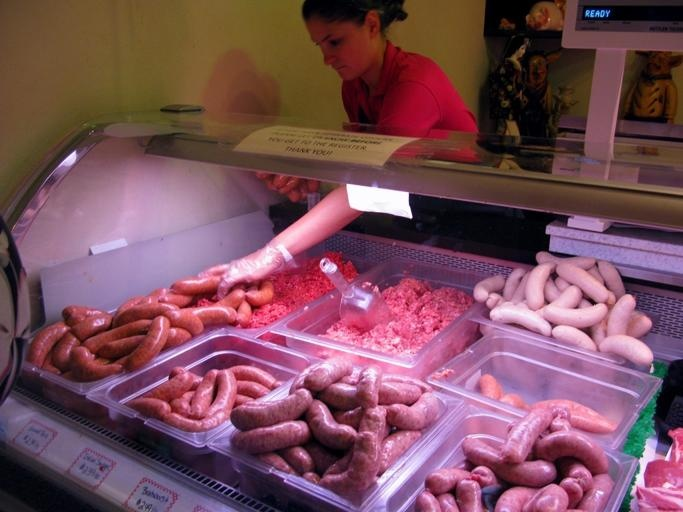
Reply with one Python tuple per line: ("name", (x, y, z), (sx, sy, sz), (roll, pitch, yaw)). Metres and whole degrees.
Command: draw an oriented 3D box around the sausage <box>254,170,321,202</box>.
("sausage", (-0.286, -0.337, 2.385), (0.260, 0.107, 0.198), (18, 0, -8))
